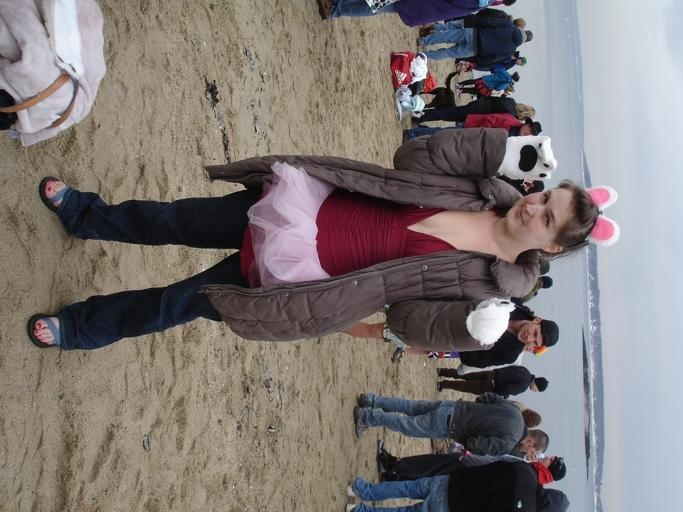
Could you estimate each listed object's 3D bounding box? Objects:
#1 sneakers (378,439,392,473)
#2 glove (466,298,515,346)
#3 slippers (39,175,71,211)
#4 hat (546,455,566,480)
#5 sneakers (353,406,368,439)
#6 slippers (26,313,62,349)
[{"bbox_3d":[0.282,1.358,5.370,0.090,0.207,0.068,-15,97,-3],"label":"sneakers"},{"bbox_3d":[0.595,0.293,3.411,0.200,0.067,0.147,42,64,-49],"label":"glove"},{"bbox_3d":[-1.344,-0.291,3.716,0.149,0.096,0.117,37,57,0],"label":"slippers"},{"bbox_3d":[1.463,1.436,5.376,0.118,0.059,0.166,-46,127,-41],"label":"hat"},{"bbox_3d":[0.121,1.071,5.178,0.090,0.073,0.213,-1,89,0],"label":"sneakers"},{"bbox_3d":[-1.352,0.331,3.630,0.141,0.100,0.135,-3,65,-23],"label":"slippers"}]
